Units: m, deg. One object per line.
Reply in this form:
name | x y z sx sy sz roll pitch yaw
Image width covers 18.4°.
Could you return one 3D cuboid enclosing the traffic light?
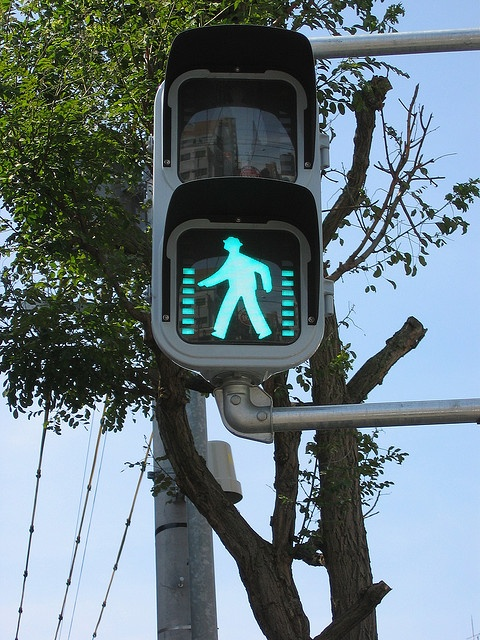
traffic light | -0.022 -0.640 7.405 0.850 1.626 0.704 -1 -31 3
